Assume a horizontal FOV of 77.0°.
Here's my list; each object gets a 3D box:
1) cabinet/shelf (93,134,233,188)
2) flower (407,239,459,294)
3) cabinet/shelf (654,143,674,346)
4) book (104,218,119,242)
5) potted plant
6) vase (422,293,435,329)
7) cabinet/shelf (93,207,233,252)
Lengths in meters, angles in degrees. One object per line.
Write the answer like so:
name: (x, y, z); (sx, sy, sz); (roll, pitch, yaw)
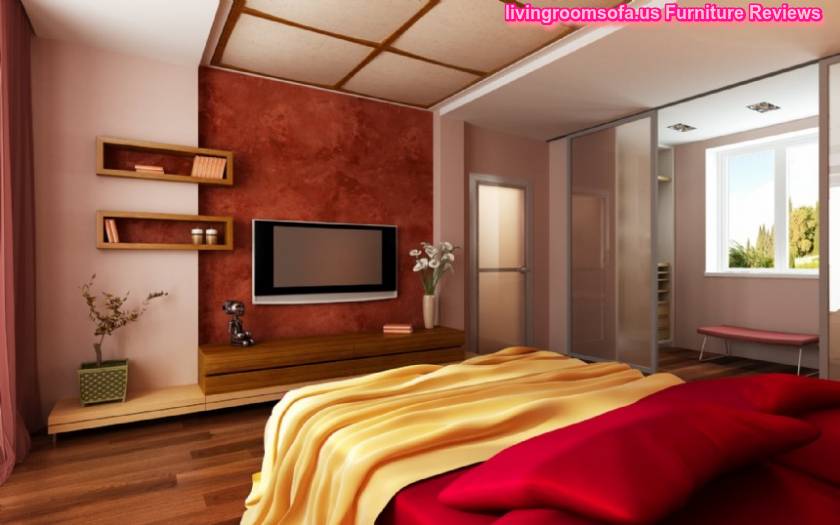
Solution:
cabinet/shelf: (-2.465, -0.968, 5.156); (1.237, 0.327, 0.294); (1, 2, -28)
flower: (0.067, 0.034, 6.428); (0.664, 0.621, 0.635); (-3, 9, -33)
cabinet/shelf: (3.529, -0.261, 7.579); (0.267, 2.806, 0.432); (-2, 2, 24)
book: (-2.844, -0.303, 4.893); (0.140, 0.198, 0.054); (-5, -6, 13)
potted plant: (-2.731, 0.665, 4.838); (0.672, 1.010, 0.327); (-3, 2, -22)
vase: (0.100, 0.546, 6.146); (0.136, 0.391, 0.170); (-3, 2, -5)
cabinet/shelf: (-2.443, -0.309, 5.093); (1.175, 0.310, 0.224); (-3, 2, -26)
